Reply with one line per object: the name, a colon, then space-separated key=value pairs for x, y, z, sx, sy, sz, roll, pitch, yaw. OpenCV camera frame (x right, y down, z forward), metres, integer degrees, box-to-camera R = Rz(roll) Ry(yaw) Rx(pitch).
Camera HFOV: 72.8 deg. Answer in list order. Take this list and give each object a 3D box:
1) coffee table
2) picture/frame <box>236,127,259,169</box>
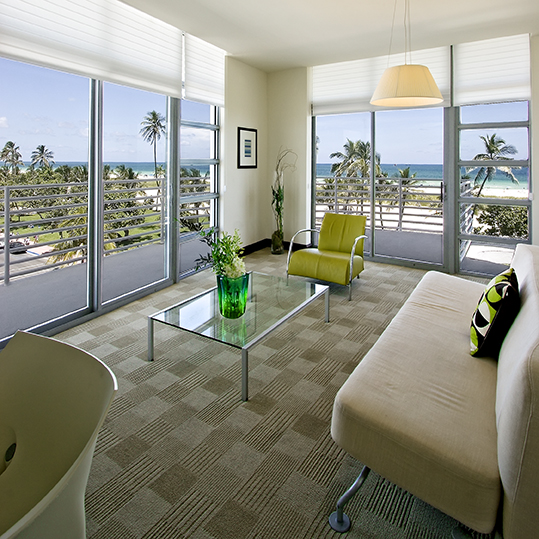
coffee table: x=-0.195 y=0.367 z=2.958 sx=0.945 sy=0.467 sz=1.336 roll=10 pitch=17 yaw=30
picture/frame: x=-0.368 y=-1.917 z=5.710 sx=0.047 sy=0.742 sz=0.657 roll=2 pitch=7 yaw=29
